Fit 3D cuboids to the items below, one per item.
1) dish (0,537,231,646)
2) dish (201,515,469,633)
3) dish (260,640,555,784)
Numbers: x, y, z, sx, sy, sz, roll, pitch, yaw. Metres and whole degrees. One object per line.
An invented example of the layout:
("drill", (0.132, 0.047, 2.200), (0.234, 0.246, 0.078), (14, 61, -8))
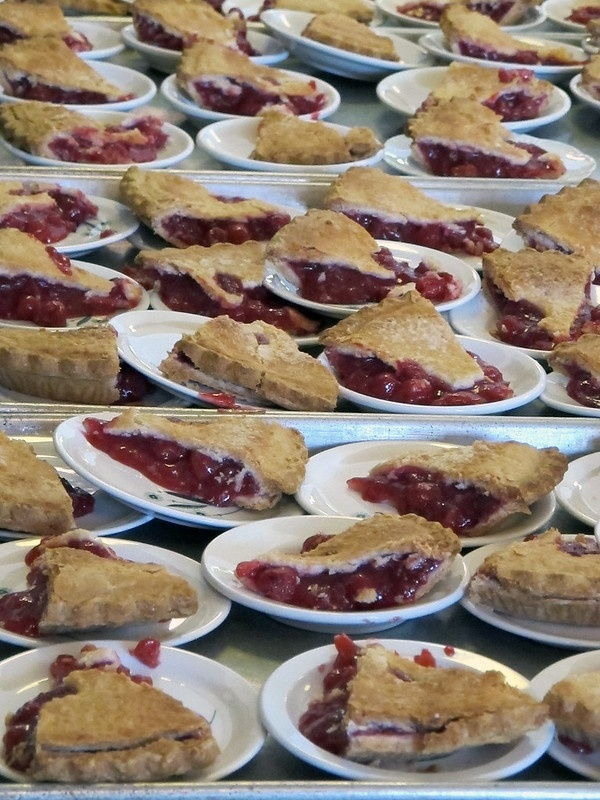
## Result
("dish", (-0.203, 0.215, 0.979), (0.185, 0.023, 0.158), (3, 13, -24))
("dish", (-0.022, 0.199, 1.043), (0.213, 0.037, 0.189), (7, 12, 16))
("dish", (0.101, 0.308, 0.856), (0.282, 0.072, 0.225), (1, 16, -3))
